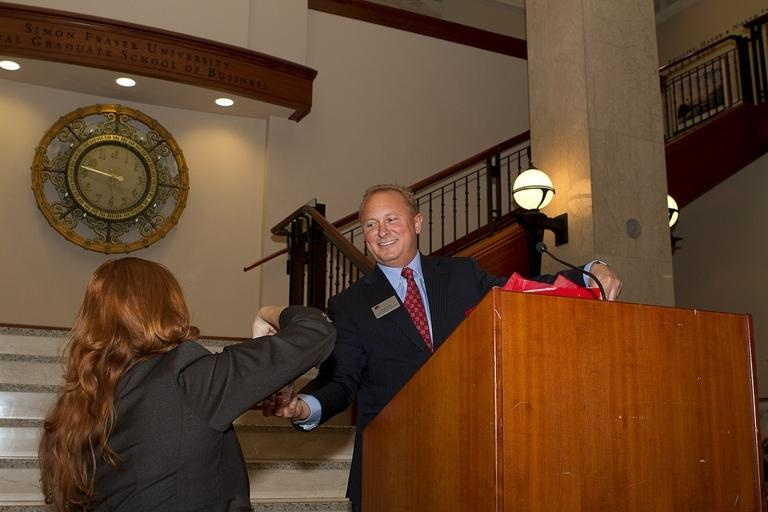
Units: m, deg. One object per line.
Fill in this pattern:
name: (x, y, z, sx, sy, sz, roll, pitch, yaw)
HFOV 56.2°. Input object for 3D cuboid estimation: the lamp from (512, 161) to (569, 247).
lamp: (1.070, -0.335, 5.003, 0.443, 0.643, 0.321, 2, -4, -26)

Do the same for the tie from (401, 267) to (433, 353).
tie: (0.135, 0.235, 3.212, 0.076, 0.404, 0.057, -26, -40, 17)

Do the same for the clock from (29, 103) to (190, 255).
clock: (-2.816, -0.747, 7.146, 1.570, 1.586, 0.108, 0, -5, -26)
